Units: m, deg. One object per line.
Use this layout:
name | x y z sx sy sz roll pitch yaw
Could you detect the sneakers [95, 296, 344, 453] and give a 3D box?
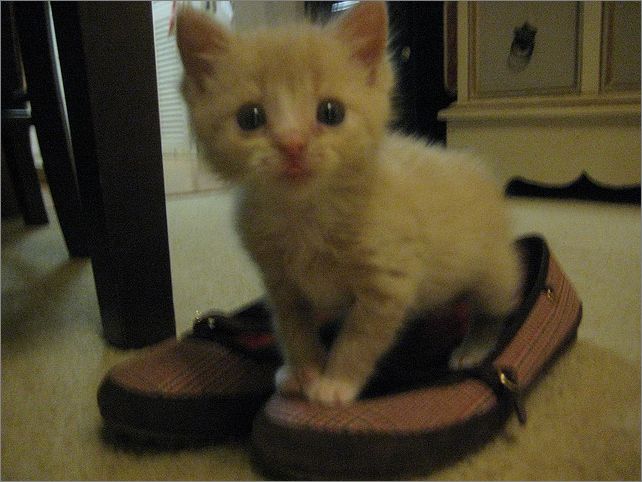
sneakers | -0.142 0.165 1.037 0.161 0.174 0.414 20 19 41
